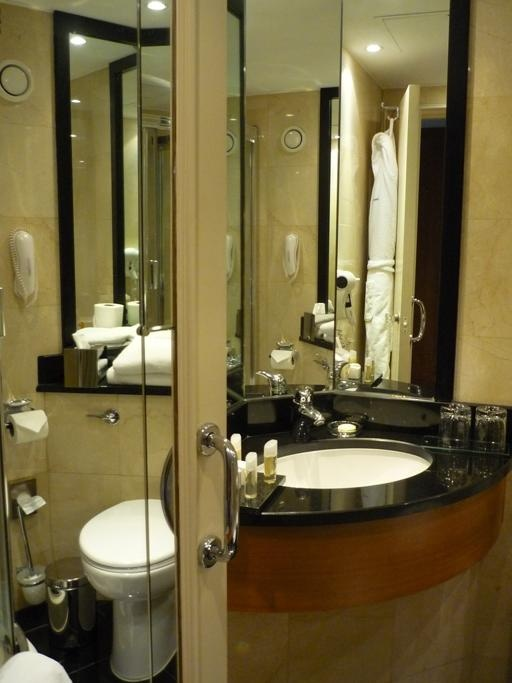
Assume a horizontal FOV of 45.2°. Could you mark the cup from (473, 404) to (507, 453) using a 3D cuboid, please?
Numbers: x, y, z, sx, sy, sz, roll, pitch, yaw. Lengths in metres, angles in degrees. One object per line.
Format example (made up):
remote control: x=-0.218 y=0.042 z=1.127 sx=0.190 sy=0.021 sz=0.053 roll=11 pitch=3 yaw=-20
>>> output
cup: x=0.589 y=0.215 z=1.559 sx=0.072 sy=0.150 sz=0.085 roll=2 pitch=3 yaw=24

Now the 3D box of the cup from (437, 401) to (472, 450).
cup: x=0.507 y=0.219 z=1.578 sx=0.073 sy=0.120 sz=0.085 roll=4 pitch=8 yaw=17

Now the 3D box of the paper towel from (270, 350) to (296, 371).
paper towel: x=0.068 y=0.050 z=1.598 sx=0.045 sy=0.066 sz=0.049 roll=2 pitch=3 yaw=10

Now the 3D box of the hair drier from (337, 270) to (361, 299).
hair drier: x=0.241 y=-0.152 z=1.642 sx=0.045 sy=0.103 sz=0.063 roll=12 pitch=21 yaw=34

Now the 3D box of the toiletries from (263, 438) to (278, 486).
toiletries: x=0.028 y=0.258 z=1.315 sx=0.028 sy=0.077 sz=0.065 roll=1 pitch=8 yaw=-1
